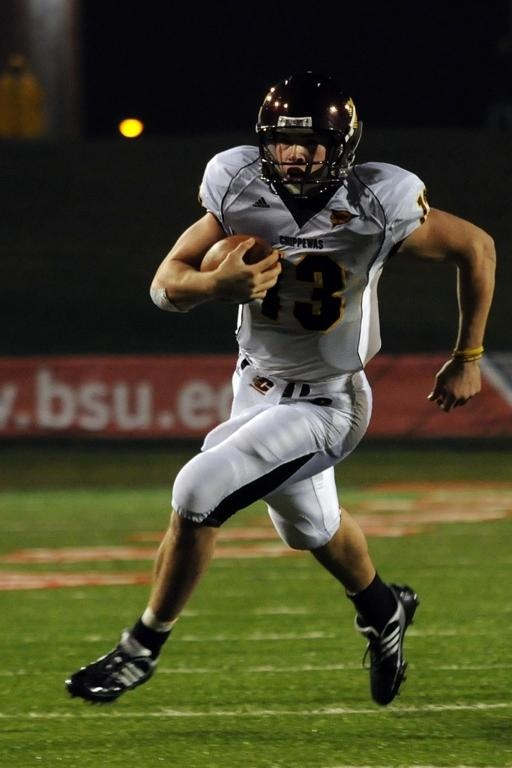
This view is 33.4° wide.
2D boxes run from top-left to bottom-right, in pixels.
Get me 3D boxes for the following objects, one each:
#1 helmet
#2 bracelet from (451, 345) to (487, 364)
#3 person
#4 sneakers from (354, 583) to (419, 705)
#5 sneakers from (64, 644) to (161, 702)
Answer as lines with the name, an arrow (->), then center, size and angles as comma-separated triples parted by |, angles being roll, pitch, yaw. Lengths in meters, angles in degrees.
helmet -> 0.111, -0.565, 1.922 | 0.250, 0.226, 0.276 | 7, 25, 20
bracelet -> 0.493, -0.070, 2.006 | 0.056, 0.021, 0.047 | -5, -4, 34
person -> 0.071, 0.026, 1.872 | 0.964, 1.403, 0.358 | 0, 3, -12
sneakers -> 0.358, 0.592, 2.001 | 0.170, 0.272, 0.107 | 26, -23, -33
sneakers -> -0.287, 0.592, 1.833 | 0.215, 0.085, 0.094 | -14, 31, -36
